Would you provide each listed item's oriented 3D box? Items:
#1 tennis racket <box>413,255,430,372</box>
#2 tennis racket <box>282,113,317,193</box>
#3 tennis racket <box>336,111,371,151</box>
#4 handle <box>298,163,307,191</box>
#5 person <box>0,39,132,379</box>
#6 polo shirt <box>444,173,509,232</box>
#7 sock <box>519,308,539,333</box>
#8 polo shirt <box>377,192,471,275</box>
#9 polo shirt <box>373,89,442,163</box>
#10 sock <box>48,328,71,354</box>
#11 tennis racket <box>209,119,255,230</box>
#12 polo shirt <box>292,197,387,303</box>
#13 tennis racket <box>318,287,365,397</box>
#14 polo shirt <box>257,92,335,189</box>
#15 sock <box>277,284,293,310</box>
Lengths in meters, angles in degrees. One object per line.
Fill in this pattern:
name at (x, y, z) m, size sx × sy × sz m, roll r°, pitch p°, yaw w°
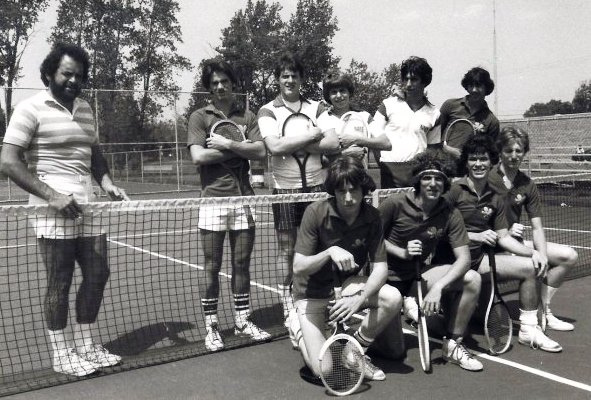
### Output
tennis racket at (1.347, 1.187, 5.754) m, size 0.203 × 1.141 × 0.646 m, roll 2°, pitch 12°, yaw 11°
tennis racket at (0.033, -0.572, 6.480) m, size 0.321 × 0.913 × 0.269 m, roll 6°, pitch 13°, yaw 27°
tennis racket at (0.704, -0.815, 6.799) m, size 0.429 × 0.675 × 0.333 m, roll -3°, pitch -8°, yaw 4°
handle at (0.088, -0.267, 6.392) m, size 0.079 × 0.319 × 0.069 m, roll -2°, pitch 12°, yaw -9°
person at (-2.417, 0.115, 5.576) m, size 0.932 × 3.355 × 0.831 m, roll -7°, pitch 14°, yaw -29°
polo shirt at (2.059, 0.053, 6.208) m, size 0.515 × 0.480 × 0.246 m, roll 18°, pitch -6°, yaw -3°
sock at (2.640, 1.385, 6.231) m, size 0.199 × 0.334 × 0.243 m, roll 0°, pitch -4°, yaw 0°
polo shirt at (1.406, 0.322, 6.068) m, size 1.054 × 0.997 × 0.503 m, roll 13°, pitch 16°, yaw 15°
polo shirt at (1.565, -0.791, 7.047) m, size 0.974 × 1.166 × 0.438 m, roll -10°, pitch -39°, yaw 30°
sock at (-2.480, 1.490, 5.685) m, size 0.181 × 0.315 × 0.173 m, roll -6°, pitch 13°, yaw -26°
tennis racket at (-0.710, -0.282, 6.225) m, size 0.504 × 1.231 × 0.299 m, roll 1°, pitch 12°, yaw 7°
polo shirt at (0.442, 0.601, 5.538) m, size 0.864 × 1.252 × 0.867 m, roll 11°, pitch 10°, yaw 6°
tennis racket at (0.448, 1.582, 5.270) m, size 0.451 × 0.627 × 0.339 m, roll 0°, pitch 12°, yaw 1°
polo shirt at (0.099, -0.630, 6.438) m, size 0.677 × 0.521 × 0.820 m, roll 21°, pitch -4°, yaw -29°
sock at (-0.120, 1.168, 6.541) m, size 0.134 × 0.347 × 0.243 m, roll -4°, pitch 13°, yaw -18°
